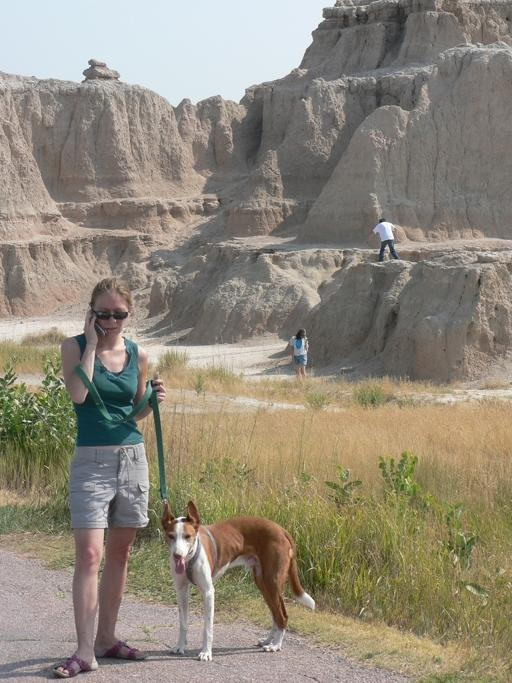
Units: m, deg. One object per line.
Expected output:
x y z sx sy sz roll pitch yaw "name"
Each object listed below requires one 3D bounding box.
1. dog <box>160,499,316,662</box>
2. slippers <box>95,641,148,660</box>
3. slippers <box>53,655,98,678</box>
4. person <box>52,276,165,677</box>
-0.148 1.758 10.386 1.186 1.287 0.491 0 8 -22 "dog"
-0.995 2.264 10.227 0.296 0.155 0.155 1 2 -7 "slippers"
-1.300 2.325 9.960 0.258 0.146 0.129 0 -4 -12 "slippers"
-1.100 0.951 10.224 0.631 2.732 0.995 0 9 -5 "person"
